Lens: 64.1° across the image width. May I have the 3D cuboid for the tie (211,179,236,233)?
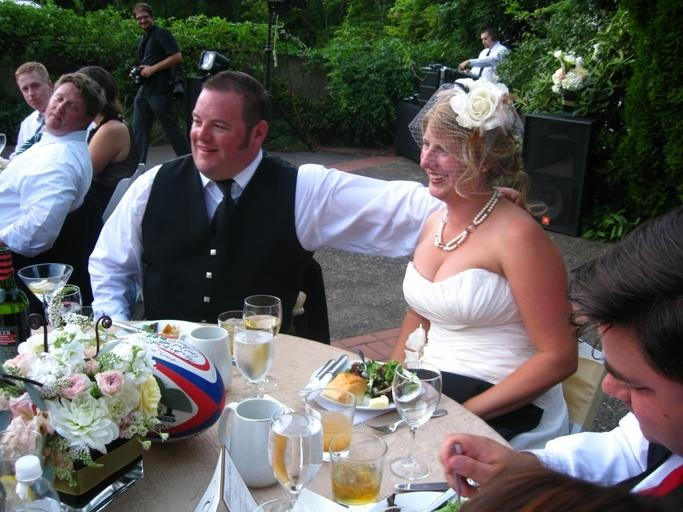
[{"bbox_3d":[-0.621,-0.260,2.868,0.105,0.265,0.140,-2,17,-10],"label":"tie"}]

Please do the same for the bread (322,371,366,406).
[{"bbox_3d":[0.010,0.434,1.800,0.087,0.041,0.123,4,8,22],"label":"bread"}]

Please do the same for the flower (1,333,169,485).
[{"bbox_3d":[-0.684,0.310,1.383,0.365,0.284,0.372,17,11,35],"label":"flower"}]

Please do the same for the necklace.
[{"bbox_3d":[0.622,-0.131,2.588,0.042,0.307,0.232,37,10,-29],"label":"necklace"}]

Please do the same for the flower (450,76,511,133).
[{"bbox_3d":[0.651,-0.682,2.578,0.241,0.244,0.116,-35,-8,0],"label":"flower"}]
